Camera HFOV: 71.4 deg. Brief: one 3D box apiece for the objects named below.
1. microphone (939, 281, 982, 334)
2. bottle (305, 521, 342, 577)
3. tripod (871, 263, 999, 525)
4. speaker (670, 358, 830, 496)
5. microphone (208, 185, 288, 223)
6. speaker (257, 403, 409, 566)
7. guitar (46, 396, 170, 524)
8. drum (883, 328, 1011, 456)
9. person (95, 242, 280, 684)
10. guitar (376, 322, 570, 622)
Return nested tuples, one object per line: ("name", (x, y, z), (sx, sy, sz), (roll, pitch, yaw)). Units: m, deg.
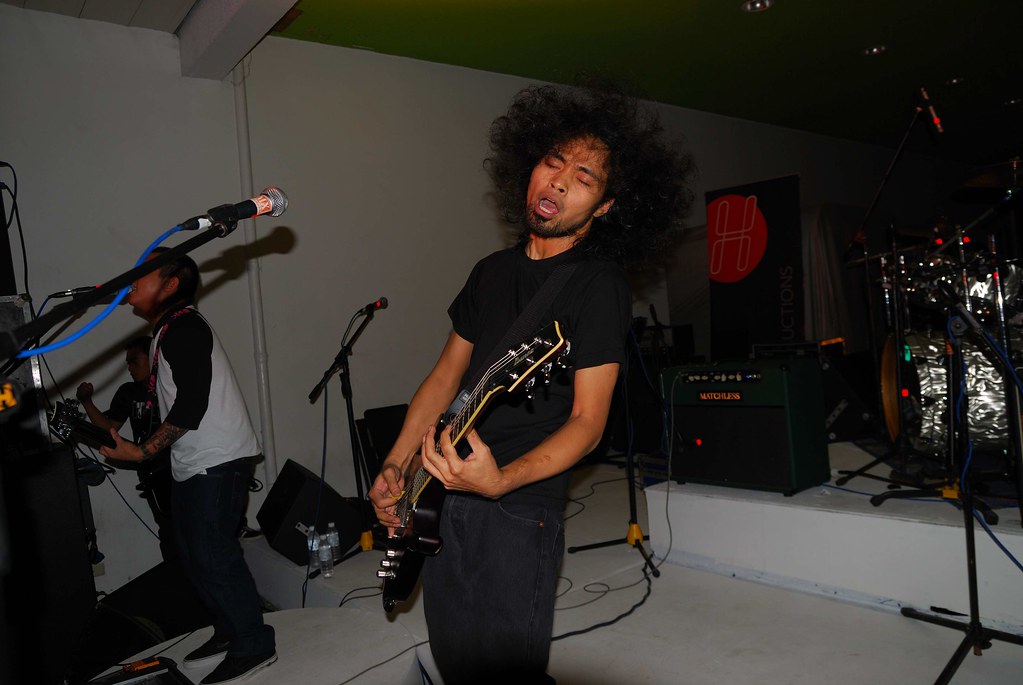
("microphone", (2.760, -0.220, 4.411), (0.093, 0.354, 0.108), (-36, -35, 22))
("bottle", (-1.451, 1.620, 5.606), (0.256, 0.345, 0.245), (3, 2, 0))
("tripod", (2.815, 0.411, 4.730), (0.651, 1.562, 0.717), (-20, 19, -25))
("speaker", (1.821, 0.652, 5.599), (0.672, 0.965, 1.095), (-3, -1, -35))
("microphone", (-1.157, -0.613, 3.348), (0.402, 0.164, 0.157), (-23, 32, -38))
("speaker", (-1.545, 1.226, 6.402), (1.398, 1.464, 0.856), (2, -4, -36))
("guitar", (-2.992, 0.885, 5.321), (0.307, 0.440, 1.277), (-32, -36, -7))
("drum", (3.171, 0.379, 5.528), (0.756, 1.077, 0.922), (0, -5, 2))
("person", (-1.965, 0.773, 4.628), (1.059, 2.654, 0.488), (3, 2, 17))
("guitar", (-0.147, 0.684, 3.440), (0.379, 0.777, 1.970), (18, -46, -13))
